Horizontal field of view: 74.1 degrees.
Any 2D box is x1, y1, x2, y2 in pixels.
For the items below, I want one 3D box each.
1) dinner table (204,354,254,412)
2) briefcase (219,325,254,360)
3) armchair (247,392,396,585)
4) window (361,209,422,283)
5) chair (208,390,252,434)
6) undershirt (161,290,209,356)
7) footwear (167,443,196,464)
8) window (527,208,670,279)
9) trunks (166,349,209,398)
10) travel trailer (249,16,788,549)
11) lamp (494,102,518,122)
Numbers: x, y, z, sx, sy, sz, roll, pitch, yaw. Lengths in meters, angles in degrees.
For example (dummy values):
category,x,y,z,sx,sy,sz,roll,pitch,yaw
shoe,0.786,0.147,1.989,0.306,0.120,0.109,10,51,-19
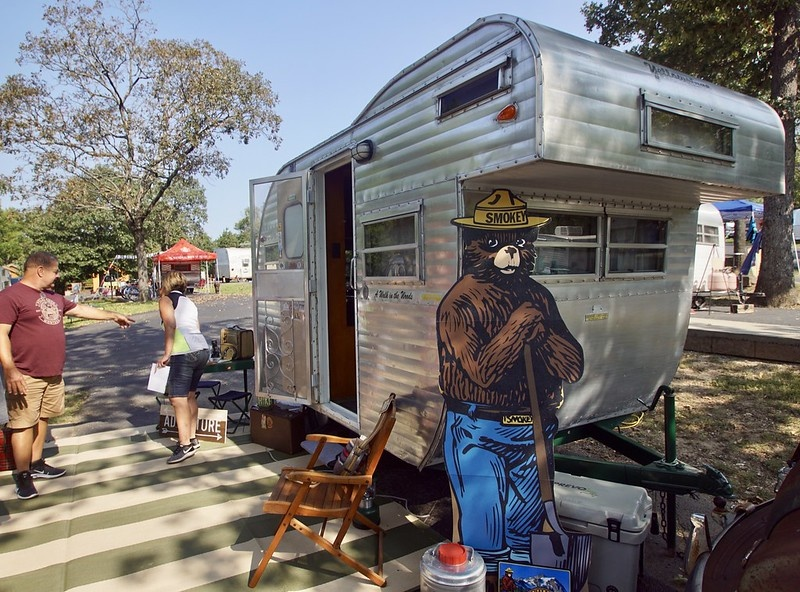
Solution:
category,x,y,z,sx,sy,sz,roll,pitch,yaw
dinner table,-2.327,1.216,7.235,1.083,0.669,0.561,-1,1,-25
briefcase,-2.103,0.526,6.852,0.388,0.529,0.559,-4,8,-39
armchair,-0.598,1.641,4.877,1.434,1.711,1.201,5,-6,-6
window,-0.117,-0.419,4.625,0.060,0.576,0.889,4,10,31
chair,-2.192,1.457,6.867,0.562,0.520,0.550,-2,-3,34
undershirt,-2.302,0.288,5.732,0.376,0.644,0.427,-7,16,-22
footwear,-2.338,1.708,5.692,0.112,0.114,0.304,-8,-3,23
window,1.676,-0.429,4.411,1.691,0.561,0.086,-2,1,-31
trunks,-2.304,0.850,5.798,0.443,0.545,0.256,-10,17,-30
travel trailer,0.655,-0.094,6.322,3.977,3.771,6.113,0,0,-41
lamp,0.723,-1.251,3.652,0.128,0.104,0.035,-22,-6,40
